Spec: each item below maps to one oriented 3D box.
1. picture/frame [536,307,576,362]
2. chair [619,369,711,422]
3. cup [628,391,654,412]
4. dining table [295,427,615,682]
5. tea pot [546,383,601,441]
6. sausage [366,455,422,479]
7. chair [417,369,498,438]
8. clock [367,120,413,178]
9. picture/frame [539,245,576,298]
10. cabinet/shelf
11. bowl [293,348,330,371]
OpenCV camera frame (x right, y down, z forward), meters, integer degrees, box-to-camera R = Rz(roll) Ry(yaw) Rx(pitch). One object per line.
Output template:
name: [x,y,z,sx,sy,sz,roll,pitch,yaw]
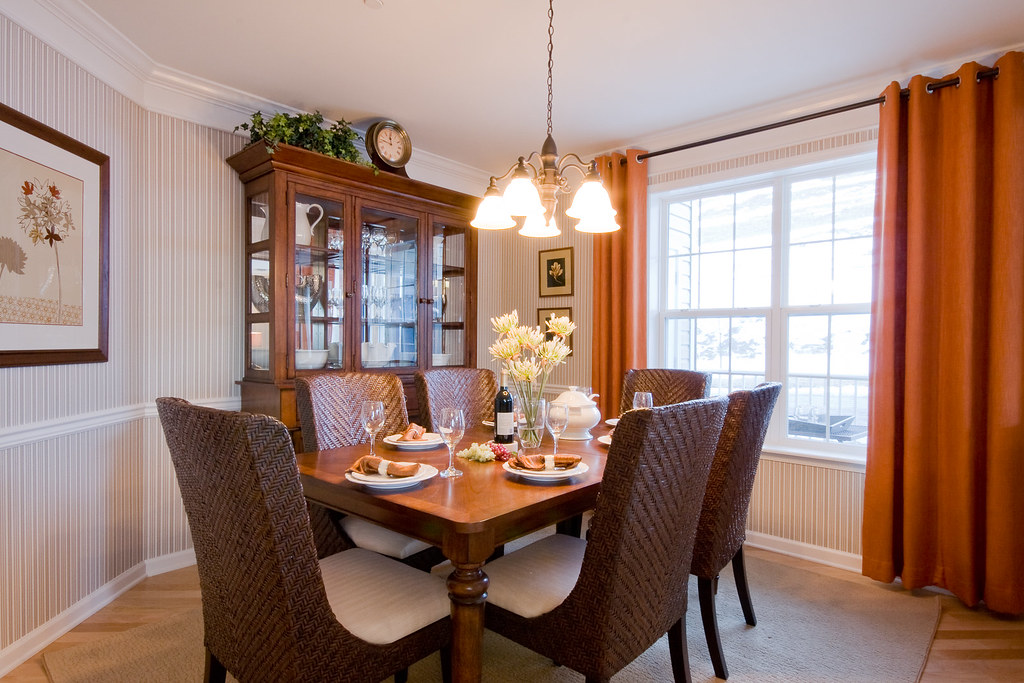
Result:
picture/frame: [0.357,-0.105,6.247,0.310,0.378,0.016,0,5,21]
chair: [0.966,0.364,4.665,0.336,0.422,0.371,-3,-15,27]
cup: [0.712,0.311,3.999,0.148,0.142,0.148,0,2,0]
dining table: [-0.335,0.928,3.561,1.079,0.772,1.498,-2,-3,39]
tea pot: [0.326,0.397,3.944,0.285,0.268,0.334,-3,4,-42]
sausage: [-0.569,0.591,3.480,0.164,0.055,0.123,3,0,15]
chair: [-0.362,0.401,4.777,0.402,0.488,0.404,4,-9,-34]
clock: [-0.940,-1.362,5.355,0.341,0.365,0.349,-4,-2,38]
picture/frame: [0.363,-0.581,6.233,0.353,0.385,0.016,1,3,37]
cabinet/shelf: [-1.038,-0.352,5.502,0.544,1.717,1.990,1,0,42]
bowl: [-1.337,0.117,4.957,0.027,0.149,0.249,2,2,36]
